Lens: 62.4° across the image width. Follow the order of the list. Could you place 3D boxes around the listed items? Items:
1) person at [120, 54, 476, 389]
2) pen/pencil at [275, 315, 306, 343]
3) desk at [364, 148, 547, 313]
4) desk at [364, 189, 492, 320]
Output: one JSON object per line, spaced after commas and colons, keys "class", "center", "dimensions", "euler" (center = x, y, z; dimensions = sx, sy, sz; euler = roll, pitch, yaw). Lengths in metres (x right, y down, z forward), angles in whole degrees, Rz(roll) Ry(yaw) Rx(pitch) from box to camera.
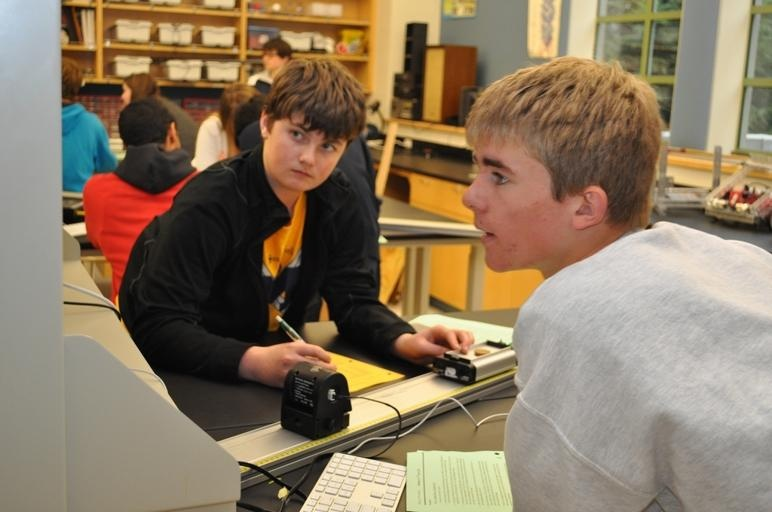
{"class": "person", "center": [-0.324, -0.094, 1.843], "dimensions": [1.070, 0.838, 0.750], "euler": [12, 14, 40]}
{"class": "pen/pencil", "center": [-0.281, 0.214, 1.852], "dimensions": [0.019, 0.085, 0.023], "euler": [-25, 34, 26]}
{"class": "desk", "center": [0.271, -0.068, 2.857], "dimensions": [0.317, 0.557, 1.078], "euler": [-7, 25, -26]}
{"class": "desk", "center": [0.231, 0.016, 3.524], "dimensions": [0.586, 0.566, 0.583], "euler": [-5, 20, -20]}
